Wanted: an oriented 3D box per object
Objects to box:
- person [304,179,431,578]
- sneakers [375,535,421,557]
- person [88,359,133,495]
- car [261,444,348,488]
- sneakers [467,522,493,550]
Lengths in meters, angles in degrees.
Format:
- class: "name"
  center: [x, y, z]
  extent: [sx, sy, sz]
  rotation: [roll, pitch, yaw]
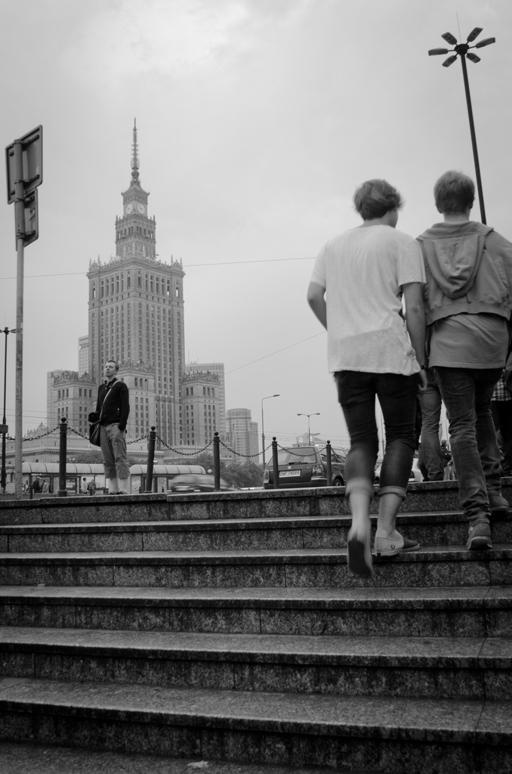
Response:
- class: "person"
  center: [0.546, 0.004, 5.202]
  extent: [0.504, 1.552, 0.567]
  rotation: [-1, -6, -5]
- class: "sneakers"
  center: [0.649, 0.731, 5.182]
  extent: [0.185, 0.079, 0.092]
  rotation: [-5, 1, -33]
- class: "person"
  center: [-1.486, 0.417, 11.542]
  extent: [0.403, 1.380, 0.883]
  rotation: [-1, -6, -8]
- class: "car"
  center: [1.161, 1.649, 22.778]
  extent: [1.119, 0.950, 2.123]
  rotation: [-3, -2, 27]
- class: "sneakers"
  center: [0.995, 0.669, 5.072]
  extent: [0.102, 0.133, 0.259]
  rotation: [-3, -6, 10]
